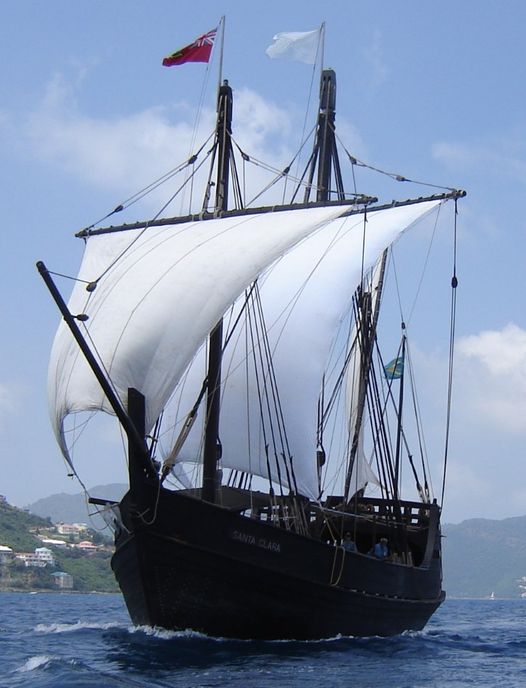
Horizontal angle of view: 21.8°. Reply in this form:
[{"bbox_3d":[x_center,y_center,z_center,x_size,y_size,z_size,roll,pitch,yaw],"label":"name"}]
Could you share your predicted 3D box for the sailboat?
[{"bbox_3d":[0.053,2.797,44.079,11.935,19.031,20.544,-7,-17,29],"label":"sailboat"}]
